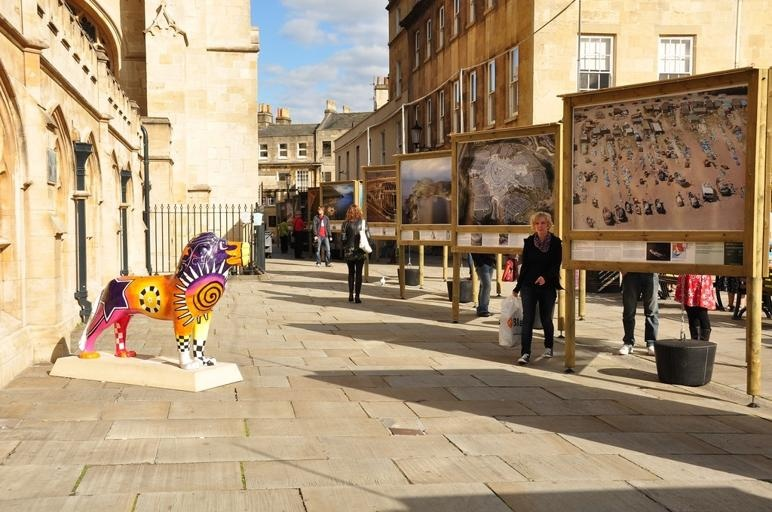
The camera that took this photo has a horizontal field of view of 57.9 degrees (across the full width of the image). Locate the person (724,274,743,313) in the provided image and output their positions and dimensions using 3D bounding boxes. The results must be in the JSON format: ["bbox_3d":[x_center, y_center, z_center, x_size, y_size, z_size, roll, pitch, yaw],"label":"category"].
[{"bbox_3d":[7.465,0.846,14.933,0.364,0.771,2.428,3,0,27],"label":"person"}]

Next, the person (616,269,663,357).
[{"bbox_3d":[4.118,0.932,11.349,0.557,1.350,0.860,3,0,20],"label":"person"}]

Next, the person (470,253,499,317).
[{"bbox_3d":[2.100,0.633,15.255,0.452,1.365,1.250,3,0,8],"label":"person"}]

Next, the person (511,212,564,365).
[{"bbox_3d":[2.397,0.498,10.990,0.695,2.380,0.661,3,0,5],"label":"person"}]

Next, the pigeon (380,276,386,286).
[{"bbox_3d":[-0.106,0.800,21.611,0.202,0.316,0.225,1,1,23],"label":"pigeon"}]

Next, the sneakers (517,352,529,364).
[{"bbox_3d":[2.130,1.587,10.796,0.182,0.173,0.119,2,0,-1],"label":"sneakers"}]

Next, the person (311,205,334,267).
[{"bbox_3d":[-2.682,-0.814,29.650,0.808,2.456,1.441,2,0,-6],"label":"person"}]

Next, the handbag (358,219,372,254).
[{"bbox_3d":[-0.525,-0.481,17.516,0.284,0.836,0.670,2,0,-3],"label":"handbag"}]

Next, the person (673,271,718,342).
[{"bbox_3d":[4.917,0.819,11.114,0.592,1.070,1.485,3,0,24],"label":"person"}]
